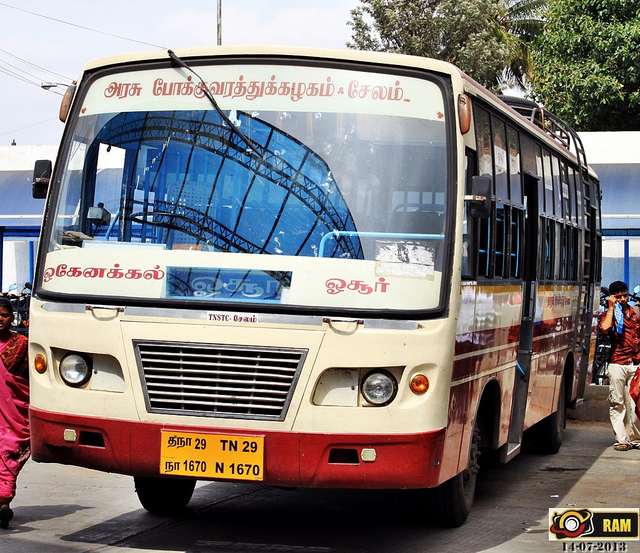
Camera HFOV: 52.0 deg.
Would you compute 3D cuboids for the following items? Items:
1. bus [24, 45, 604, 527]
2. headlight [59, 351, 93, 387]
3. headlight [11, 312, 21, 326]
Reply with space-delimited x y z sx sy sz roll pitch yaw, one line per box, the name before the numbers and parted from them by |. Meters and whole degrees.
bus | -0.247 0.116 7.365 2.797 3.082 7.013 3 -2 7
headlight | -1.528 0.583 4.111 0.194 0.233 0.080 5 -2 21
headlight | -6.287 0.871 13.521 0.156 0.303 0.589 -2 5 -26
